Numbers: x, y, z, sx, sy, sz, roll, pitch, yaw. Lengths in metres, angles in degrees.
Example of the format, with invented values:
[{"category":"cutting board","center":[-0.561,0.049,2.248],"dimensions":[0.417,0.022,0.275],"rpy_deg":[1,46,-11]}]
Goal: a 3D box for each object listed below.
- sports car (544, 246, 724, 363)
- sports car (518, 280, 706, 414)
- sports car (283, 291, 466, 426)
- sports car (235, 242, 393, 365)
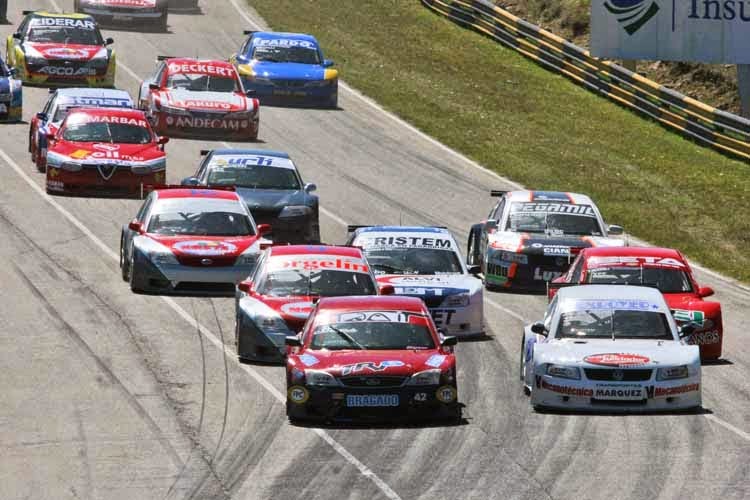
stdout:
[{"category":"sports car","center":[5.139,0.860,33.252],"dimensions":[3.284,1.787,4.612],"rpy_deg":[3,11,-6]},{"category":"sports car","center":[4.329,1.564,30.642],"dimensions":[3.318,1.600,4.648],"rpy_deg":[2,14,5]},{"category":"sports car","center":[-0.121,2.007,28.721],"dimensions":[2.929,1.503,2.250],"rpy_deg":[8,28,-2]},{"category":"sports car","center":[-1.228,0.773,32.265],"dimensions":[3.125,1.663,4.605],"rpy_deg":[0,14,-4]}]
